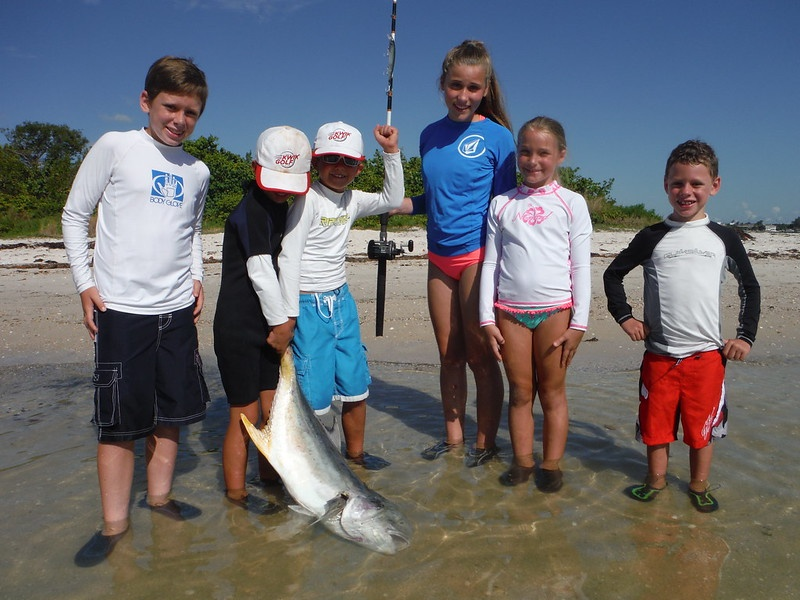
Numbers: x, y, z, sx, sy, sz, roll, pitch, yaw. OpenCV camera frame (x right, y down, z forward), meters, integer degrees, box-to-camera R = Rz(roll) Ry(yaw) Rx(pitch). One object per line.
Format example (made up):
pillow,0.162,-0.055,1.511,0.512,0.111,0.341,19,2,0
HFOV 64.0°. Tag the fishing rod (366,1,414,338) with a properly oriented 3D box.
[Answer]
fishing rod,-0.115,-1.053,5.139,0.464,2.716,0.281,0,4,0

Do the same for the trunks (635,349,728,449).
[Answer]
trunks,1.858,0.559,4.246,0.563,0.740,0.400,0,24,18

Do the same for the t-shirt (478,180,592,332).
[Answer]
t-shirt,0.912,-0.300,4.311,0.720,0.946,0.357,3,15,15

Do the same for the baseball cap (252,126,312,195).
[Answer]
baseball cap,-0.709,-0.901,3.962,0.372,0.290,0.545,-2,45,-27

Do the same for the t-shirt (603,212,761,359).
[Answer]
t-shirt,1.868,-0.085,4.240,0.994,0.945,0.358,0,16,17

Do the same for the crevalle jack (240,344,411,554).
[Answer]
crevalle jack,-0.508,0.982,4.090,0.429,1.190,0.236,-29,-8,-7

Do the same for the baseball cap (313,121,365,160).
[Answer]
baseball cap,-0.407,-1.085,4.302,0.377,0.266,0.472,-4,16,-20

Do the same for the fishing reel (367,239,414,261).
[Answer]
fishing reel,-0.078,-0.391,5.070,0.372,0.166,0.224,2,49,3
